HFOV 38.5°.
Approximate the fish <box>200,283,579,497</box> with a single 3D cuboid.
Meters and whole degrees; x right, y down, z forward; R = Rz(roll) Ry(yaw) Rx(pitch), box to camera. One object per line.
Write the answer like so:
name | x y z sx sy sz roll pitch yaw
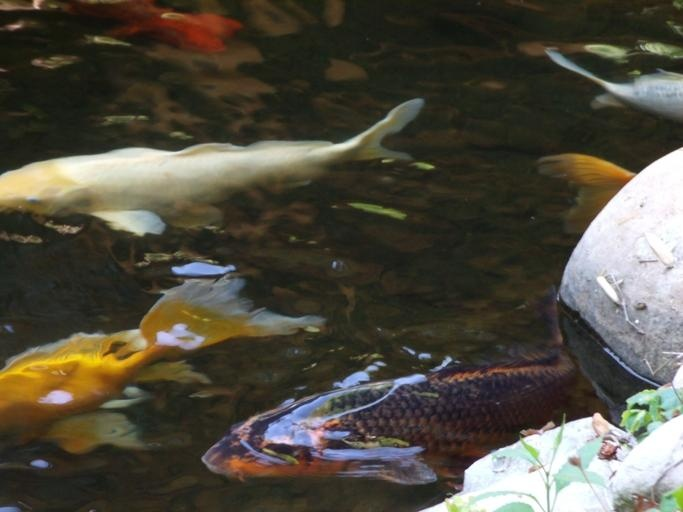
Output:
fish | 0.851 0.889 5.783 3.053 0.620 0.583 -8 31 -3
